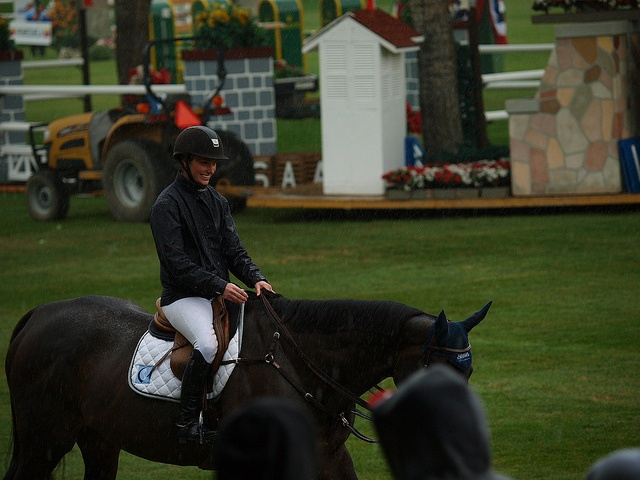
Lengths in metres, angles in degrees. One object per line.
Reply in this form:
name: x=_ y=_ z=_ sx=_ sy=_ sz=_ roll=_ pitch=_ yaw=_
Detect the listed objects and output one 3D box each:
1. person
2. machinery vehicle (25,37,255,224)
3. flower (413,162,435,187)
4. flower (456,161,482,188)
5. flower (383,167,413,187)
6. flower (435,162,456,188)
person: x=-1.526 y=0.552 z=18.001 sx=1.216 sy=3.975 sz=0.799 roll=-3 pitch=7 yaw=-9
machinery vehicle: x=-3.879 y=-2.226 z=27.646 sx=3.952 sy=4.069 sz=2.717 roll=2 pitch=5 yaw=31
flower: x=1.894 y=-1.206 z=25.920 sx=0.321 sy=0.132 sz=0.341 roll=23 pitch=45 yaw=33
flower: x=2.764 y=-1.235 z=25.968 sx=0.288 sy=0.493 sz=0.220 roll=0 pitch=-19 yaw=2
flower: x=1.512 y=-1.171 z=26.022 sx=0.358 sy=0.309 sz=0.414 roll=0 pitch=2 yaw=11
flower: x=2.317 y=-1.195 z=25.872 sx=0.318 sy=0.182 sz=0.394 roll=5 pitch=43 yaw=1
